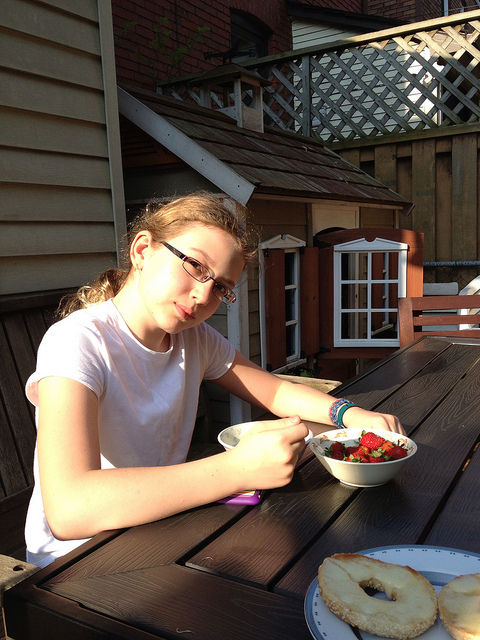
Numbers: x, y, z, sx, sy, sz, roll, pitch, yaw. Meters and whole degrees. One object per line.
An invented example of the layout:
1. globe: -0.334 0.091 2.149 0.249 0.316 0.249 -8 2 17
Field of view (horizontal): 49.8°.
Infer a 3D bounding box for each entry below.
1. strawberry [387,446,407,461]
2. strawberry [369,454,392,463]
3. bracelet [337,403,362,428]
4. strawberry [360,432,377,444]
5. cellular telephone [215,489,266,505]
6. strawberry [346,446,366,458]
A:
1. strawberry: 0.350 0.297 1.162 0.042 0.029 0.050 -5 -2 14
2. strawberry: 0.307 0.300 1.137 0.031 0.012 0.019 2 8 18
3. bracelet: 0.322 0.280 1.536 0.069 0.068 0.037 -4 -2 -35
4. strawberry: 0.309 0.285 1.258 0.043 0.025 0.040 -5 -1 5
5. cellular telephone: -0.004 0.362 1.064 0.056 0.012 0.055 0 1 12
6. strawberry: 0.265 0.303 1.187 0.032 0.022 0.030 13 -18 -42
